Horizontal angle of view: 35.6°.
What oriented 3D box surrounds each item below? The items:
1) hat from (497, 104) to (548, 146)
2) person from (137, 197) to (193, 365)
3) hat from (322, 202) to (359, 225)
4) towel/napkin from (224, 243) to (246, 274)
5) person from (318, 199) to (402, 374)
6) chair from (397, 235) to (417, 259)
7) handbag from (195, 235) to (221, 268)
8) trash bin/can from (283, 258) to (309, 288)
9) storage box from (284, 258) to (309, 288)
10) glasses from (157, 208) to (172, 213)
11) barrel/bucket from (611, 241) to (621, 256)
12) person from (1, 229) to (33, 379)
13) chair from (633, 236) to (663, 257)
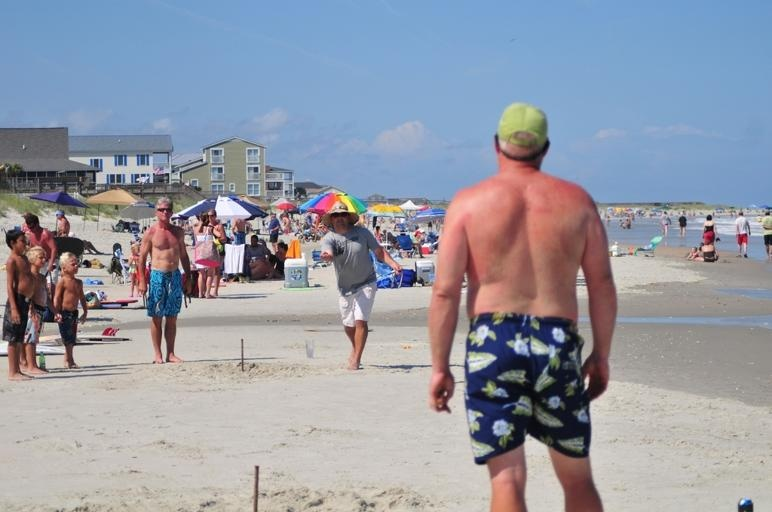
[{"bbox_3d":[1.437,-1.394,12.478,0.592,0.433,0.858,4,13,8],"label":"hat"},{"bbox_3d":[-3.337,0.374,18.103,0.745,2.490,0.729,0,3,-13],"label":"person"},{"bbox_3d":[-0.664,-0.657,18.516,0.605,0.293,0.620,-1,-8,-2],"label":"hat"},{"bbox_3d":[-3.855,0.086,30.586,0.750,0.944,0.159,1,3,-6],"label":"towel/napkin"},{"bbox_3d":[-0.466,0.441,17.406,1.078,2.452,0.605,-1,3,-17],"label":"person"},{"bbox_3d":[0.693,-0.354,41.395,0.614,1.025,0.705,0,-1,-11],"label":"chair"},{"bbox_3d":[-3.905,-0.085,26.201,0.567,0.727,0.402,4,-29,-23],"label":"handbag"},{"bbox_3d":[-2.145,0.421,28.961,0.662,0.712,0.537,0,2,0],"label":"trash bin/can"},{"bbox_3d":[-2.143,0.430,28.842,0.580,0.673,0.803,0,3,-4],"label":"storage box"},{"bbox_3d":[-3.310,-0.690,18.028,0.091,0.069,0.320,1,4,20],"label":"glasses"},{"bbox_3d":[7.789,-0.249,40.160,0.510,0.584,0.802,0,0,5],"label":"barrel/bucket"},{"bbox_3d":[-5.198,0.686,17.007,0.424,2.096,0.556,-1,3,-21],"label":"person"},{"bbox_3d":[10.621,-0.375,48.675,1.004,0.537,0.551,-7,4,-19],"label":"chair"}]
